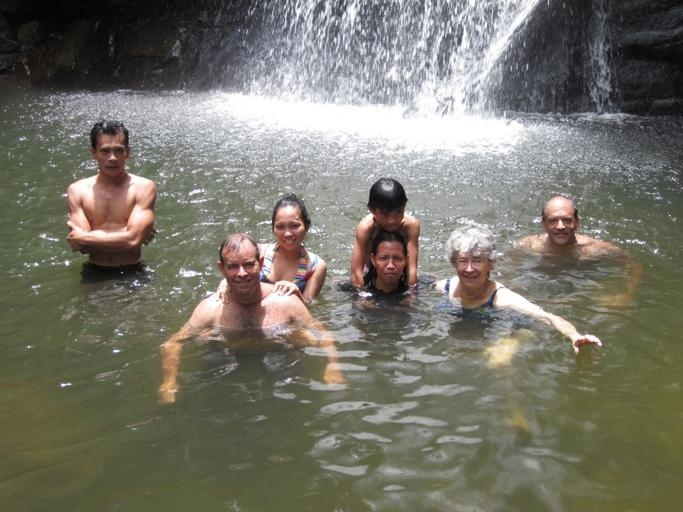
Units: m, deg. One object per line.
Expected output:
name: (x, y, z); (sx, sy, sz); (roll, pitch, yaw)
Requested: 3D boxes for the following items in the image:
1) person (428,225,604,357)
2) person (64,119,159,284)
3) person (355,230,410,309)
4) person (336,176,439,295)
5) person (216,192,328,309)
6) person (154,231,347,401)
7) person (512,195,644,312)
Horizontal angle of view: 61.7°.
person: (1.557, 0.336, 5.056); (1.046, 0.990, 0.348); (5, 34, 39)
person: (-2.193, -0.544, 5.452); (0.794, 1.445, 0.582); (-3, 14, -19)
person: (0.272, 0.105, 5.251); (0.599, 0.688, 0.648); (0, 20, -2)
person: (0.435, -0.158, 5.679); (0.926, 1.271, 0.523); (-1, 30, -3)
person: (-0.603, 0.046, 5.311); (1.021, 1.201, 0.613); (7, 15, -1)
person: (-0.739, 0.411, 4.443); (1.406, 0.968, 0.899); (-4, 14, -10)
person: (2.283, -0.035, 6.082); (1.567, 1.067, 0.803); (6, 21, 40)
